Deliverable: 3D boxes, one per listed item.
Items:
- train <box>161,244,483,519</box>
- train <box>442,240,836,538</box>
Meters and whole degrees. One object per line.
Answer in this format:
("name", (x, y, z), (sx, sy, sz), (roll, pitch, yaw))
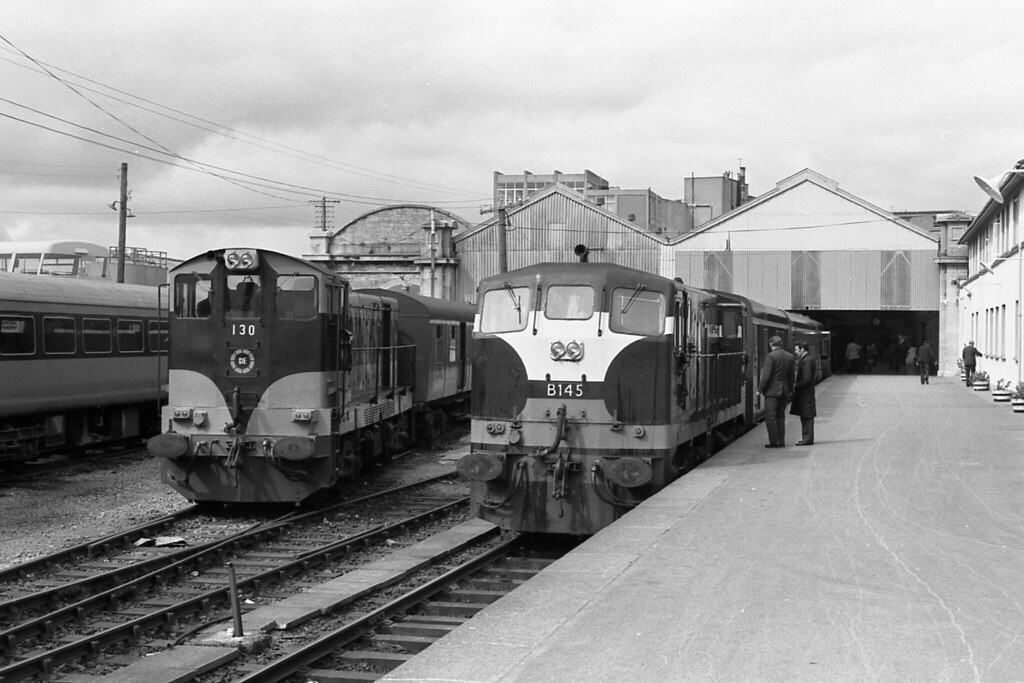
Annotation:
("train", (-4.490, 0.365, 25.313), (3.633, 5.597, 19.011), (2, 3, 13))
("train", (2.497, 0.558, 18.072), (2.776, 4.648, 7.684), (4, 6, 36))
